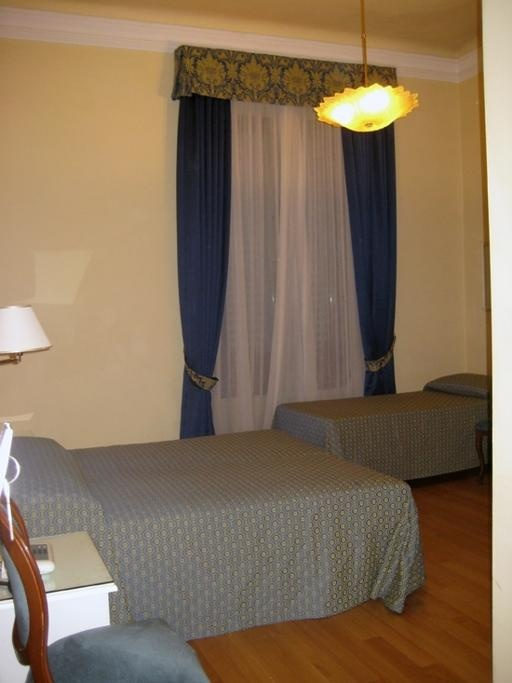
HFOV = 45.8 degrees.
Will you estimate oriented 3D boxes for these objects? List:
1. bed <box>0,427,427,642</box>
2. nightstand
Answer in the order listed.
[{"bbox_3d":[-0.106,0.699,2.388,1.073,0.460,0.898,-6,16,-26],"label":"bed"},{"bbox_3d":[-0.486,0.571,1.504,0.231,0.376,0.335,-4,14,-20],"label":"nightstand"}]
